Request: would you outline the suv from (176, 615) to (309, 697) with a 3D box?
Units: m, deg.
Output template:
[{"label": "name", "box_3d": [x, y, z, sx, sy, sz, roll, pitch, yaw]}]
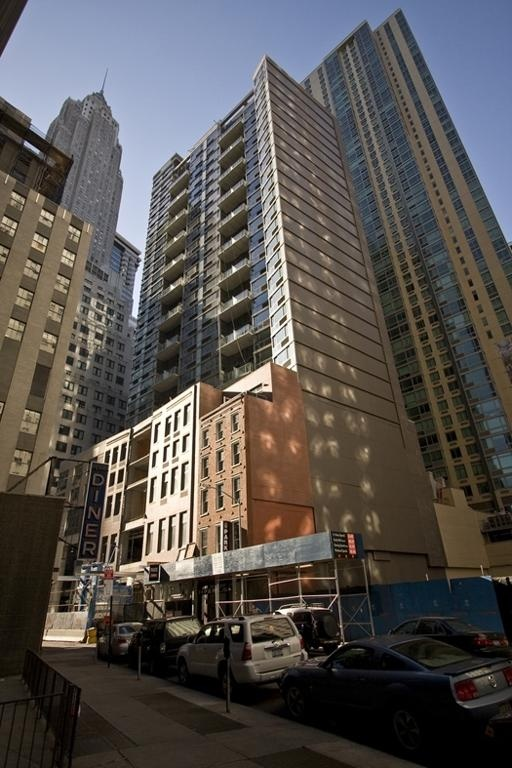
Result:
[{"label": "suv", "box_3d": [-0.616, 5.799, 10.893, 1.801, 1.464, 3.032, 26, -41, -33]}]
